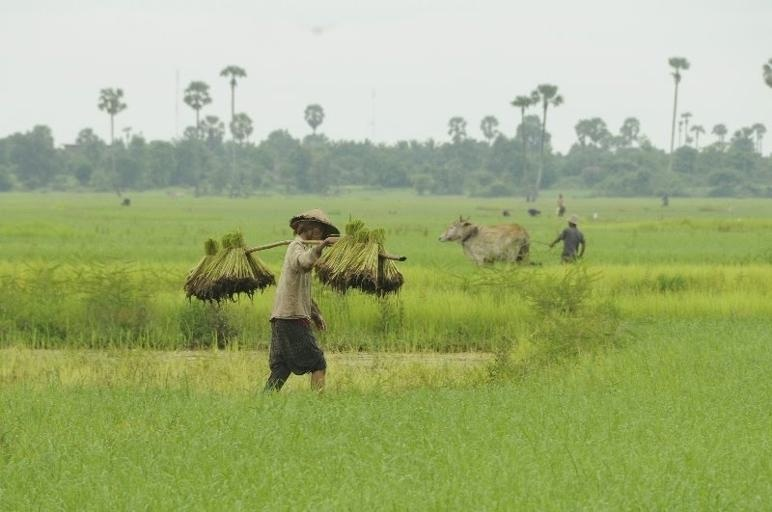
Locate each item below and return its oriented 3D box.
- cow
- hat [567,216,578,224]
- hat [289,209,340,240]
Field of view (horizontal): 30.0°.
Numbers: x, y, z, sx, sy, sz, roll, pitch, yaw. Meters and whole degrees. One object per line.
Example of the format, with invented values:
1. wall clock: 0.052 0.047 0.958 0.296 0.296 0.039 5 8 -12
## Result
1. cow: 2.844 -0.202 41.750 2.571 1.750 0.844 -1 1 3
2. hat: 5.066 -0.898 39.076 0.228 0.089 0.228 29 -2 -14
3. hat: -1.541 -0.694 30.698 0.726 0.316 0.737 14 -19 -6
